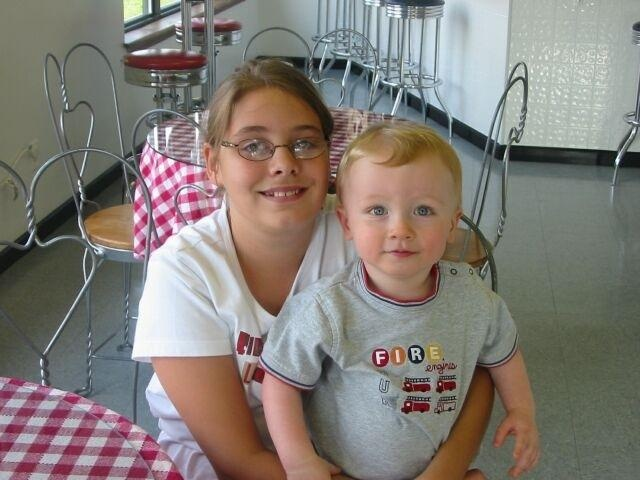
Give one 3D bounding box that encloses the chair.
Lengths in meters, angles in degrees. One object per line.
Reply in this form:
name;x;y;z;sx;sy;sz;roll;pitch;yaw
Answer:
chair;-0.221;0.051;2.179;1.384;0.923;1.440;5;31;4
